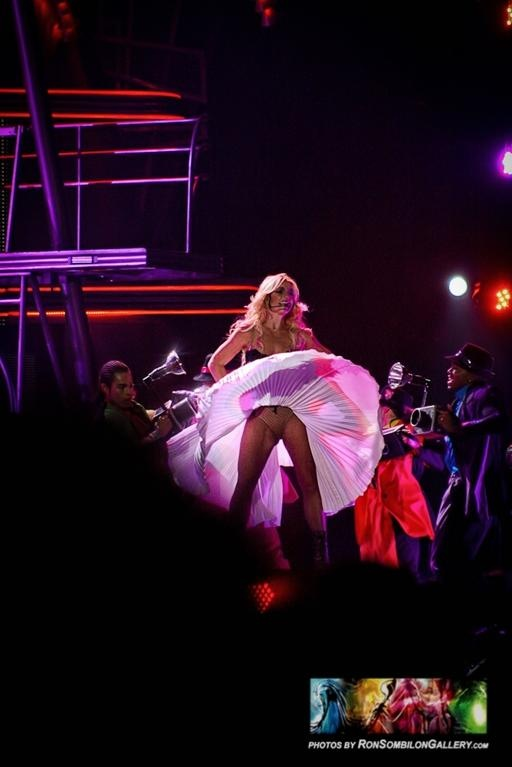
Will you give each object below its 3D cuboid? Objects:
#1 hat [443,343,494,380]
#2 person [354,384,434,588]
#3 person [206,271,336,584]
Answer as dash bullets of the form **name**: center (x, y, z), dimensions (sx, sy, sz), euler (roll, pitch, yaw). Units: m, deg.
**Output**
- **hat**: center (1.515, -0.145, 4.773), dimensions (0.285, 0.124, 0.230), euler (30, 7, -9)
- **person**: center (0.888, 0.643, 4.466), dimensions (0.507, 1.255, 0.794), euler (-2, -9, 11)
- **person**: center (0.059, 0.125, 3.156), dimensions (0.556, 1.378, 0.616), euler (-2, -9, 5)
